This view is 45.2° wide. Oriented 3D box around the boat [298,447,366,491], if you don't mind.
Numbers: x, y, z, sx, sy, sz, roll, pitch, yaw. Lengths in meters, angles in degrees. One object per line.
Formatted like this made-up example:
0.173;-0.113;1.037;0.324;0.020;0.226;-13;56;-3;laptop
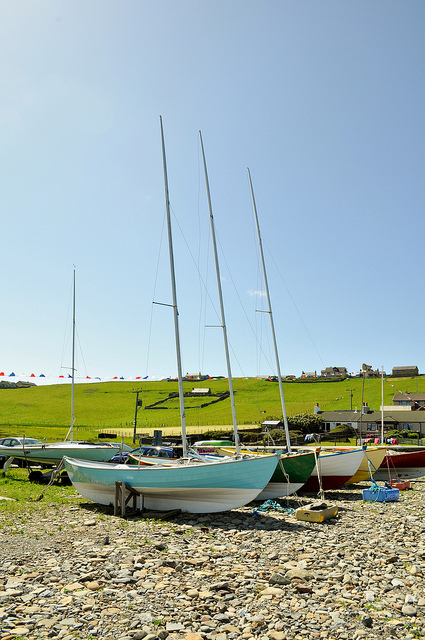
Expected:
5.826;7.329;25.163;4.255;1.719;1.631;0;-29;-13;boat
